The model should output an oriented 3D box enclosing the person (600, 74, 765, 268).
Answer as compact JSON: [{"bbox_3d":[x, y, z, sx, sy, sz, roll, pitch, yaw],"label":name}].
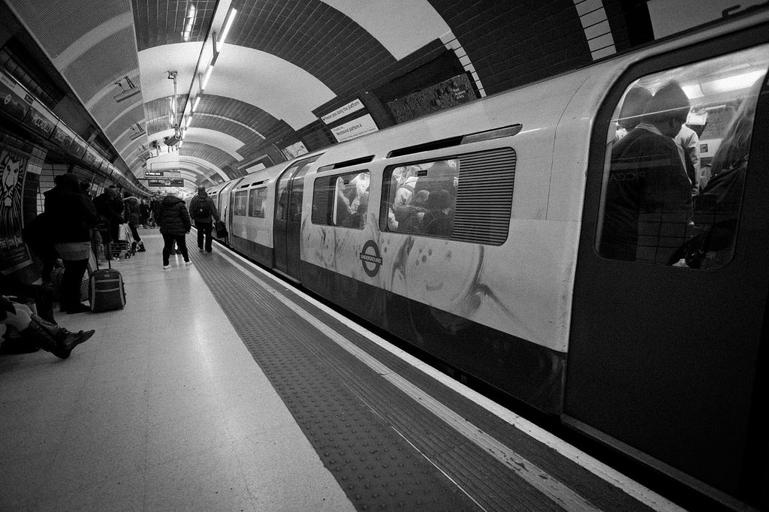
[{"bbox_3d":[2.278,-0.627,3.116,0.920,1.416,0.261,3,4,42],"label":"person"}]

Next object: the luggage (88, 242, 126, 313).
[{"bbox_3d":[-4.460,0.370,6.355,0.504,1.016,0.399,-4,7,-37],"label":"luggage"}]

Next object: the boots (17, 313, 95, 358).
[{"bbox_3d":[-3.814,0.921,4.726,0.934,0.429,0.304,9,27,-48],"label":"boots"}]

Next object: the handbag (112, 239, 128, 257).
[{"bbox_3d":[-7.507,-0.170,11.275,0.394,0.580,0.671,-4,10,-23],"label":"handbag"}]
